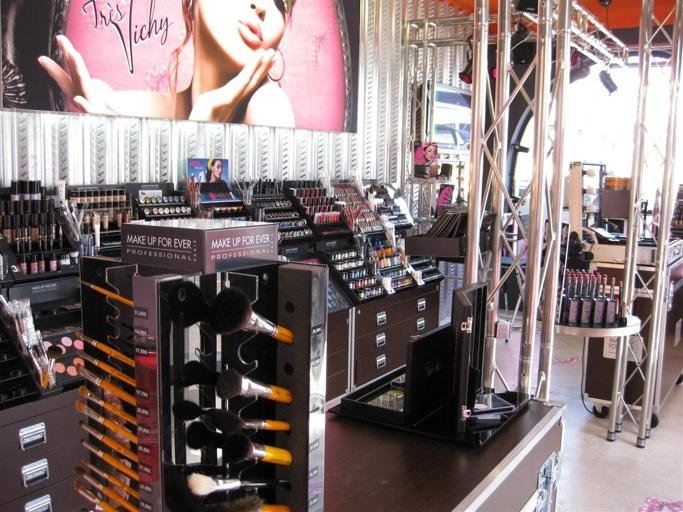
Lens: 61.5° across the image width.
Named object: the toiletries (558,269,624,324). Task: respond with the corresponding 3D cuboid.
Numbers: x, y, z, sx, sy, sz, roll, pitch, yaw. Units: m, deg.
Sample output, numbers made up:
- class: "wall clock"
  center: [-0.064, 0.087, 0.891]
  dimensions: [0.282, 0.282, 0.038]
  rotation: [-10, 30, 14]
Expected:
- class: "toiletries"
  center: [1.761, 0.298, 4.073]
  dimensions: [0.457, 0.315, 0.456]
  rotation: [3, 10, 10]
